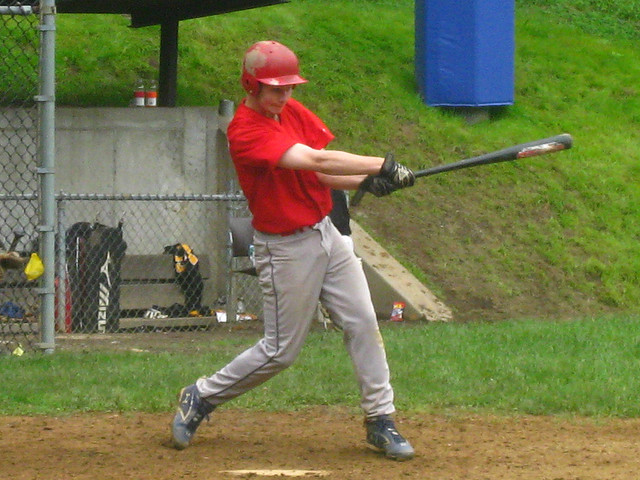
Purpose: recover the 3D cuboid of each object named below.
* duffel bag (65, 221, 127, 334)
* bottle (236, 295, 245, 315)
[{"bbox_3d":[-3.436,0.594,21.354,1.263,1.979,0.186,-2,34,-13],"label":"duffel bag"},{"bbox_3d":[-1.205,0.988,21.208,0.117,0.238,0.425,3,10,-3],"label":"bottle"}]
